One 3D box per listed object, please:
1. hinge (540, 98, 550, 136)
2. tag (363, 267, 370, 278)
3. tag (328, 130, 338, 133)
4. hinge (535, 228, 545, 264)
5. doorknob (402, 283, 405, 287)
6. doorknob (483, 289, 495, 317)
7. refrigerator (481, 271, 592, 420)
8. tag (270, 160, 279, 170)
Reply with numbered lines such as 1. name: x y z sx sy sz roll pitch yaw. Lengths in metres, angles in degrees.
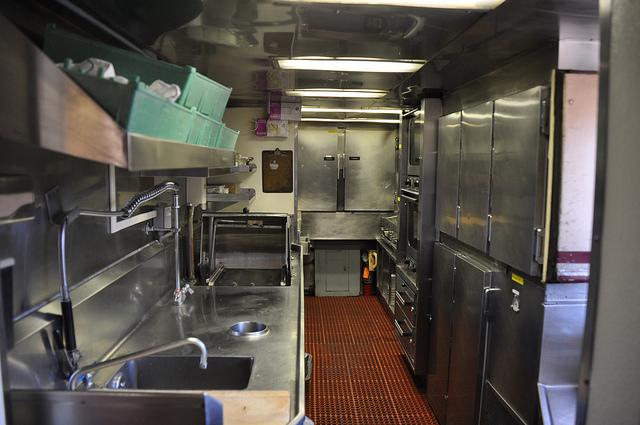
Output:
1. hinge: 1.181 -0.502 2.413 0.023 0.183 0.067 -5 12 -25
2. tag: 0.624 0.816 6.268 0.105 0.147 0.045 2 -5 8
3. tag: 0.167 -1.073 6.093 0.116 0.033 0.016 0 11 0
4. hinge: 1.172 0.176 2.454 0.043 0.191 0.019 5 12 25
5. doorknob: 0.795 0.696 4.419 0.020 0.037 0.020 8 35 9
6. doorknob: 1.078 0.572 2.942 0.064 0.165 0.045 4 12 19
7. refrigerator: 1.238 0.858 2.707 0.330 1.047 0.681 -1 11 -7
8. tag: -0.458 -0.480 4.653 0.089 0.108 0.077 1 -4 -4
